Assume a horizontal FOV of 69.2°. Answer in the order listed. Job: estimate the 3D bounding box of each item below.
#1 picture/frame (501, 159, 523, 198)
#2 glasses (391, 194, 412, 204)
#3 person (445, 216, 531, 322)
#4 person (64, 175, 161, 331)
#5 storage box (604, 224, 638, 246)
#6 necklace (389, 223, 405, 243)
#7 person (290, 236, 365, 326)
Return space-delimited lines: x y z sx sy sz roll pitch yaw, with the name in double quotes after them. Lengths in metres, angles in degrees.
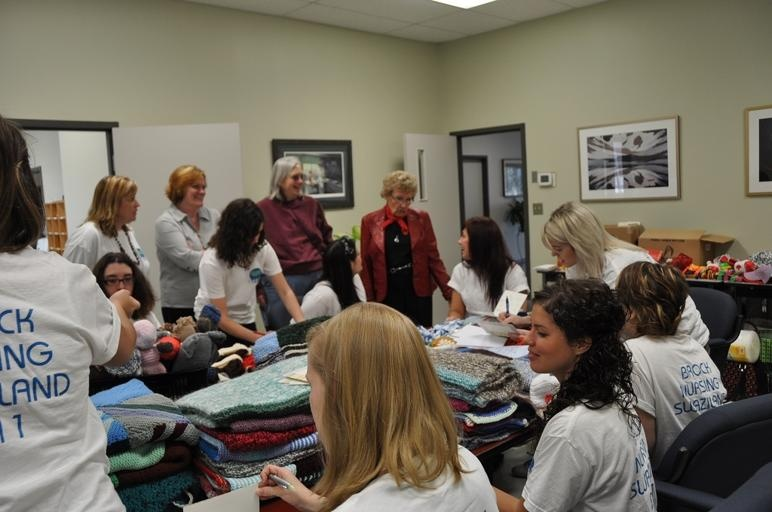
2.139 -1.346 9.571 0.064 0.884 0.887 -2 0 37 "picture/frame"
0.141 -0.478 4.685 0.175 0.075 0.078 -6 10 -23 "glasses"
0.728 0.113 3.937 0.538 0.759 0.391 3 12 32 "person"
-1.871 0.071 3.834 0.435 1.197 0.654 9 13 17 "person"
2.066 -0.189 4.882 0.251 0.163 0.259 -2 3 22 "storage box"
0.089 -0.187 4.719 0.134 0.141 0.033 13 0 3 "necklace"
-0.397 0.147 3.483 0.308 0.819 0.432 -10 22 -33 "person"
